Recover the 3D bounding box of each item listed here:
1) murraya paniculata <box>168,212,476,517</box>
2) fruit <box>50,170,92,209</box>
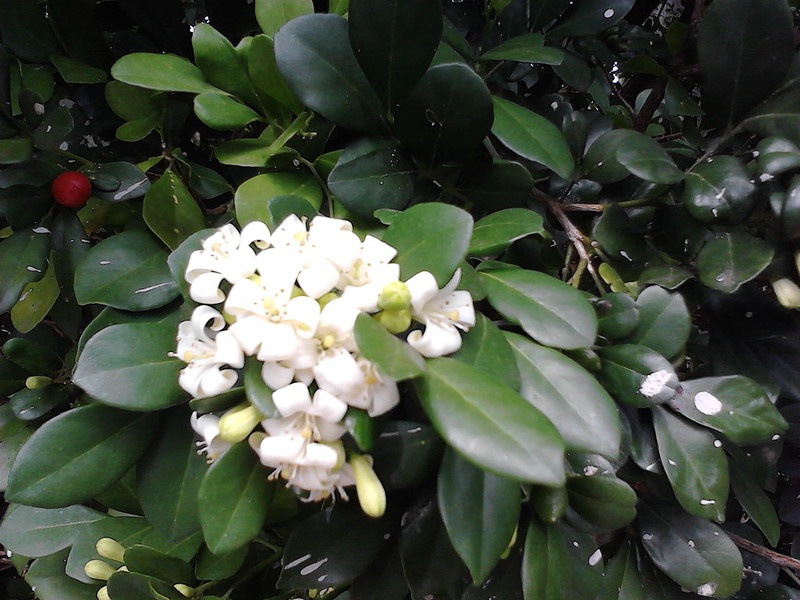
[{"bbox_3d":[-0.155,0.081,0.987,0.463,0.208,0.446,24,79,1],"label":"murraya paniculata"},{"bbox_3d":[-0.654,-0.221,1.259,0.077,0.080,0.073,-23,104,-48],"label":"fruit"}]
